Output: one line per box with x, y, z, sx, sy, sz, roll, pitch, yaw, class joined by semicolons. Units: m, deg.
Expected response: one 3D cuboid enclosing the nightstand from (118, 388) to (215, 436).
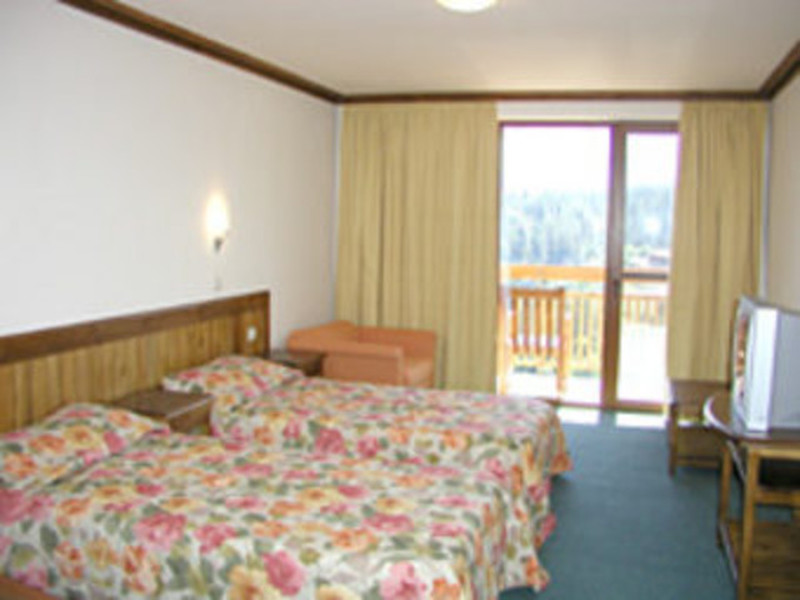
-1.638;0.736;4.188;0.371;0.234;0.380;4;9;19;nightstand

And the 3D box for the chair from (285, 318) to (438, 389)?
-0.360;0.699;6.252;1.371;0.804;1.139;3;7;18;chair

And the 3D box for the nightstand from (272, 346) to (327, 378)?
-0.957;0.551;5.585;0.296;0.294;0.300;7;13;29;nightstand
